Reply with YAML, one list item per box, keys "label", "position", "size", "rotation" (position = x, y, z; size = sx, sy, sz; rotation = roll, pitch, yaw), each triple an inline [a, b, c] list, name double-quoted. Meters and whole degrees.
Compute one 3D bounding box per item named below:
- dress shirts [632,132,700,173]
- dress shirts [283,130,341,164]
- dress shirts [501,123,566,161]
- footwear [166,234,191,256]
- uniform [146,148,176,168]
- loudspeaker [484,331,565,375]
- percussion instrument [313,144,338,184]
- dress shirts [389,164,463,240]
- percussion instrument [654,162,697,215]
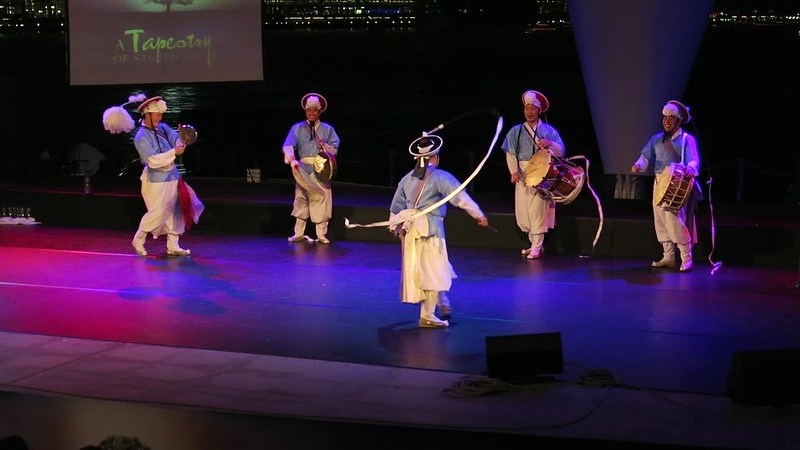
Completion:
- label: "dress shirts"
  position: [3.729, -1.021, 9.309]
  size: [0.501, 0.572, 0.904]
  rotation: [1, 5, -45]
- label: "dress shirts"
  position: [-1.422, -1.252, 10.631]
  size: [0.911, 0.383, 1.102]
  rotation: [-2, -11, 1]
- label: "dress shirts"
  position: [1.985, -1.258, 9.910]
  size: [1.050, 0.551, 0.582]
  rotation: [1, 6, 9]
- label: "footwear"
  position: [-3.241, 0.298, 9.963]
  size: [0.470, 0.370, 0.225]
  rotation: [-1, 13, -11]
- label: "uniform"
  position: [-3.414, -0.950, 9.559]
  size: [0.417, 0.287, 0.241]
  rotation: [-1, 10, -9]
- label: "loudspeaker"
  position: [1.174, 1.243, 6.319]
  size: [0.721, 0.427, 0.130]
  rotation: [0, 11, -1]
- label: "percussion instrument"
  position: [-1.194, -0.918, 10.407]
  size: [0.389, 0.530, 0.260]
  rotation: [2, 11, 10]
- label: "dress shirts"
  position: [0.292, -0.260, 7.519]
  size: [1.084, 0.787, 0.370]
  rotation: [3, 0, 34]
- label: "percussion instrument"
  position: [3.688, -0.490, 8.896]
  size: [0.323, 0.520, 0.506]
  rotation: [22, 52, 9]
